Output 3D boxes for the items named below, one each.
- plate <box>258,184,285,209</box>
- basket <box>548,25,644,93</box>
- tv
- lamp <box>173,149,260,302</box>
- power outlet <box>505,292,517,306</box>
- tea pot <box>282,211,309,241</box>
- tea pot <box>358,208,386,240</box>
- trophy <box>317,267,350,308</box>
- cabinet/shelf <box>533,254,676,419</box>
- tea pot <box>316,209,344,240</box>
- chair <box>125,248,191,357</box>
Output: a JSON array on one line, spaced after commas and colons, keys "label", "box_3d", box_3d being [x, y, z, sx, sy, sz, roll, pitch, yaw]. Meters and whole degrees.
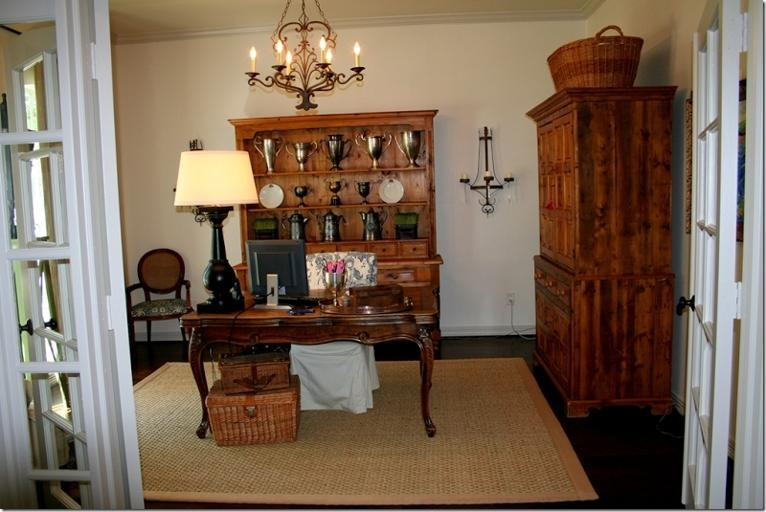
[{"label": "plate", "box_3d": [-1.203, -0.650, 6.159, 0.272, 0.265, 0.067, 8, 0, 2]}, {"label": "basket", "box_3d": [1.586, -1.487, 4.335, 0.564, 0.358, 0.673, -3, 5, -9]}, {"label": "tv", "box_3d": [-0.766, 0.137, 4.138, 0.488, 0.477, 0.161, 2, 19, 6]}, {"label": "lamp", "box_3d": [-1.149, -0.235, 3.992, 0.462, 1.195, 0.537, 1, 8, -14]}, {"label": "power outlet", "box_3d": [1.393, 0.456, 6.196, 0.155, 0.209, 0.027, 0, 4, 0]}, {"label": "tea pot", "box_3d": [-0.944, -0.317, 6.163, 0.296, 0.311, 0.317, -2, 13, 0]}, {"label": "tea pot", "box_3d": [-0.098, -0.359, 6.064, 0.292, 0.322, 0.212, 9, 19, 31]}, {"label": "trophy", "box_3d": [-0.350, 0.213, 4.198, 0.182, 0.284, 0.195, 3, 13, 7]}, {"label": "cabinet/shelf", "box_3d": [1.796, 0.602, 4.892, 0.780, 1.151, 1.398, -2, 4, 4]}, {"label": "tea pot", "box_3d": [-0.555, -0.303, 6.070, 0.350, 0.350, 0.244, 1, 5, 0]}, {"label": "chair", "box_3d": [-2.376, 0.469, 6.102, 0.626, 1.055, 0.655, -4, 8, -12]}]
